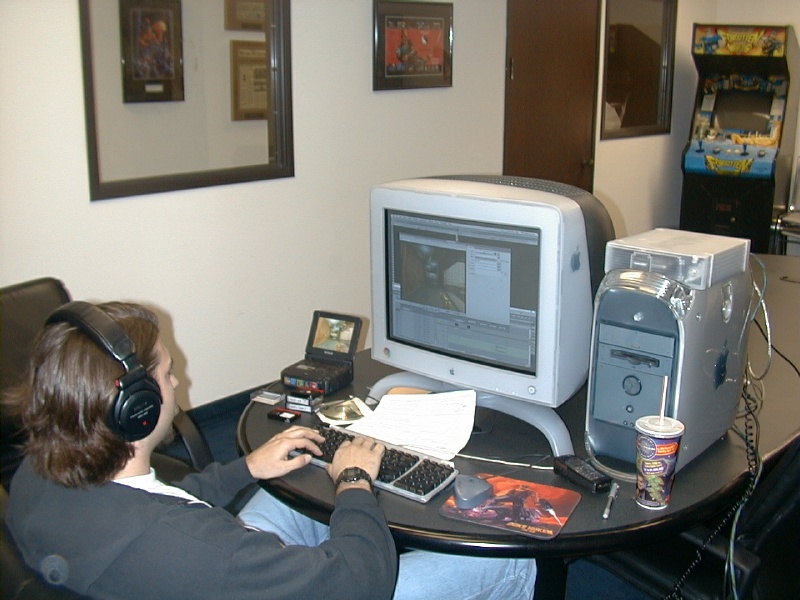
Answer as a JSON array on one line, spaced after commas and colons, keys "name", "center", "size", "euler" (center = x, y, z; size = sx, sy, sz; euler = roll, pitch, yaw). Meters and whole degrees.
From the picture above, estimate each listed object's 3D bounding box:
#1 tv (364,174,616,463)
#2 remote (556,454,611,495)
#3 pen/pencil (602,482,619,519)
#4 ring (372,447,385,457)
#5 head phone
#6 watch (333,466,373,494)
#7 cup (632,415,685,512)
[{"name": "tv", "center": [0.268, 0.000, 1.922], "size": [0.649, 0.692, 0.411], "euler": [13, 23, 36]}, {"name": "remote", "center": [0.431, 0.410, 1.536], "size": [0.056, 0.045, 0.099], "euler": [-13, 28, -30]}, {"name": "pen/pencil", "center": [0.480, 0.454, 1.481], "size": [0.020, 0.027, 0.129], "euler": [27, 38, 7]}, {"name": "ring", "center": [-0.053, 0.368, 1.588], "size": [0.015, 0.011, 0.029], "euler": [2, 7, 9]}, {"name": "head phone", "center": [-0.618, 0.127, 1.315], "size": [0.274, 0.253, 0.111], "euler": [20, 33, 27]}, {"name": "watch", "center": [-0.107, 0.404, 1.487], "size": [0.071, 0.048, 0.077], "euler": [-3, -3, 5]}, {"name": "cup", "center": [0.588, 0.357, 1.486], "size": [0.094, 0.200, 0.168], "euler": [5, 15, 24]}]
